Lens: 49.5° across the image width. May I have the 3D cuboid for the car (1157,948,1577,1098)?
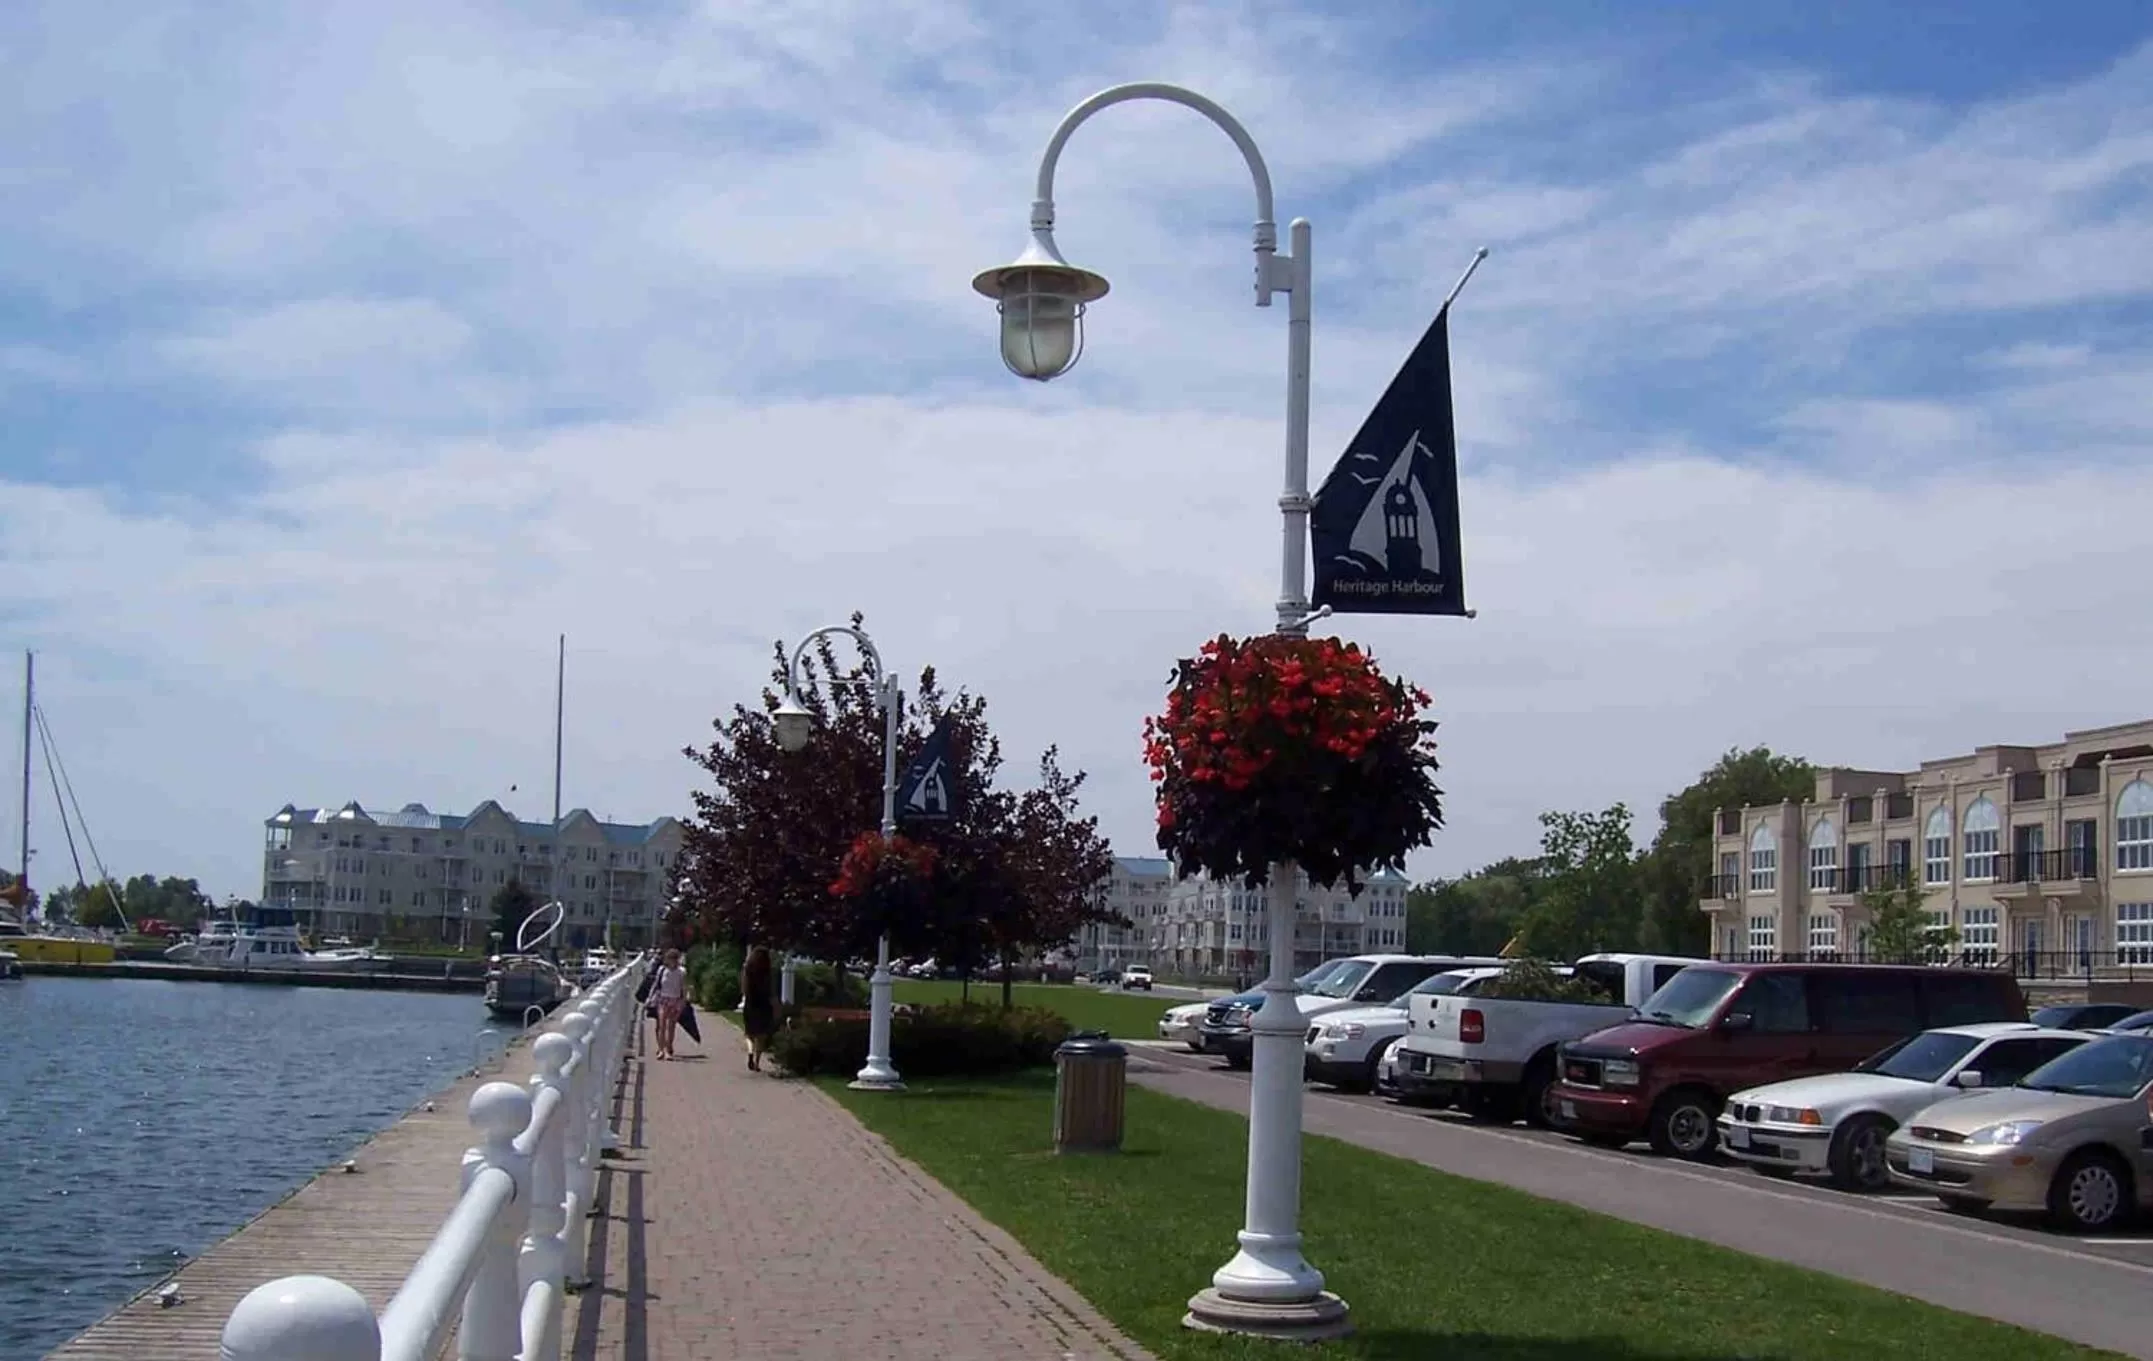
[{"bbox_3d":[5.521,6.329,44.456,7.036,2.456,3.419,7,-10,-34],"label":"car"}]

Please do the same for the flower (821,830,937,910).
[{"bbox_3d":[-3.374,3.320,41.163,1.718,1.325,0.736,2,-9,-1],"label":"flower"}]

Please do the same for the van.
[{"bbox_3d":[10.811,5.715,35.404,5.893,2.293,3.152,3,-8,-17],"label":"van"}]

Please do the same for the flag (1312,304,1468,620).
[{"bbox_3d":[3.302,-2.314,24.633,1.935,3.144,0.063,5,14,34],"label":"flag"}]

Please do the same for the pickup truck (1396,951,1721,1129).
[{"bbox_3d":[8.139,5.945,38.715,4.730,1.772,2.602,-1,-1,-22],"label":"pickup truck"}]

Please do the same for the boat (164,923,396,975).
[{"bbox_3d":[-44.738,14.846,129.597,9.288,2.887,12.505,7,-11,-31],"label":"boat"}]
